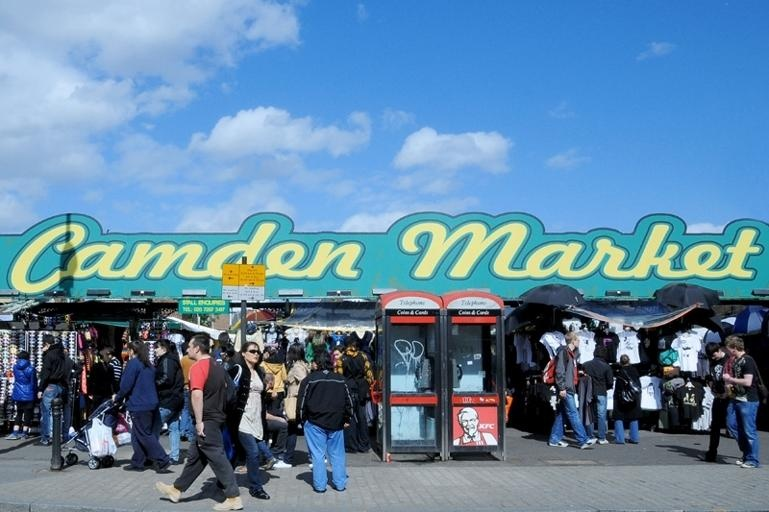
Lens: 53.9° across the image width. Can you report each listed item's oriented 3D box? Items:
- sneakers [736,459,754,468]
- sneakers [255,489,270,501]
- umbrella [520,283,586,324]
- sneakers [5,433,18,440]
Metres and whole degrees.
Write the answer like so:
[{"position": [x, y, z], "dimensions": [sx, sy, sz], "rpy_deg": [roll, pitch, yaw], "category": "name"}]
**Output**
[{"position": [7.581, 4.372, 15.880], "dimensions": [0.262, 0.100, 0.112], "rpy_deg": [4, -14, 8], "category": "sneakers"}, {"position": [-2.248, 4.378, 14.003], "dimensions": [0.302, 0.170, 0.280], "rpy_deg": [0, 1, -10], "category": "sneakers"}, {"position": [4.477, 1.101, 19.954], "dimensions": [1.501, 0.845, 1.541], "rpy_deg": [6, 14, 43], "category": "umbrella"}, {"position": [-8.990, 4.399, 18.412], "dimensions": [0.364, 0.158, 0.130], "rpy_deg": [1, -13, 1], "category": "sneakers"}]
